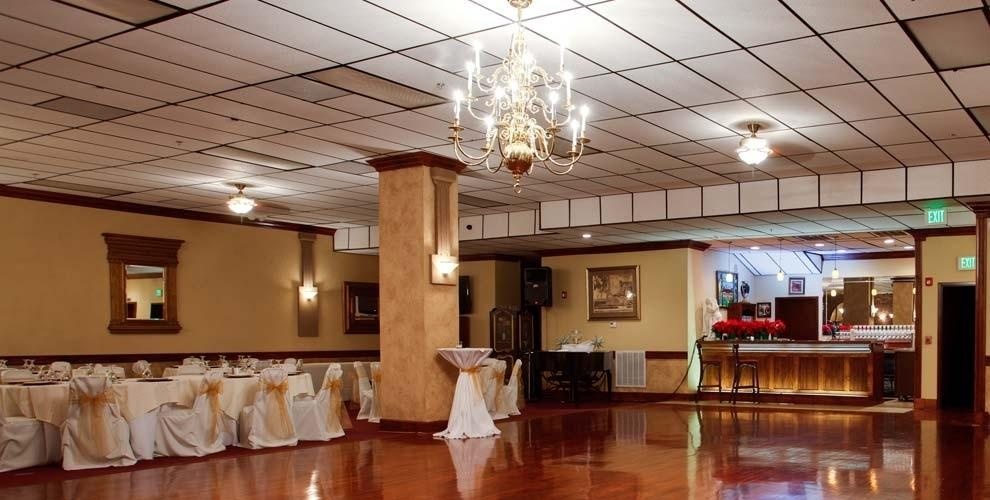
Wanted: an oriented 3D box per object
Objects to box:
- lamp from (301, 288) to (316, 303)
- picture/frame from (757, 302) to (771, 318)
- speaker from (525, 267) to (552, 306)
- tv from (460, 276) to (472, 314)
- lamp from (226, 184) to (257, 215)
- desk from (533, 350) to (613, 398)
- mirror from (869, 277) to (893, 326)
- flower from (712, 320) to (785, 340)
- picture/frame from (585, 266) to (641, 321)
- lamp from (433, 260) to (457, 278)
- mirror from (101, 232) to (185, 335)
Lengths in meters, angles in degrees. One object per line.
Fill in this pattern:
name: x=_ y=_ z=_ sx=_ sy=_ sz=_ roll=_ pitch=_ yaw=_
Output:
lamp: x=-5.785 y=1.367 z=20.035 sx=0.565 sy=0.404 sz=0.178 roll=2 pitch=-4 yaw=-43
picture/frame: x=10.140 y=2.260 z=24.463 sx=0.747 sy=0.652 sz=0.105 roll=3 pitch=4 yaw=11
speaker: x=1.402 y=1.177 z=21.091 sx=0.874 sy=1.223 sz=0.441 roll=-2 pitch=-7 yaw=4
tv: x=-0.986 y=1.533 z=22.197 sx=0.454 sy=1.285 sz=0.227 roll=-2 pitch=-7 yaw=3
lamp: x=-6.051 y=-1.222 z=16.023 sx=0.947 sy=0.754 sz=0.872 roll=0 pitch=0 yaw=-29
desk: x=2.309 y=3.887 z=19.326 sx=2.268 sy=1.111 sz=2.029 roll=-1 pitch=-8 yaw=12
mirror: x=13.592 y=1.763 z=22.820 sx=0.680 sy=1.626 sz=0.186 roll=-4 pitch=-7 yaw=18
flower: x=7.546 y=2.389 z=19.491 sx=1.878 sy=0.515 sz=0.492 roll=-2 pitch=-6 yaw=8
picture/frame: x=3.797 y=1.362 z=20.432 sx=2.167 sy=1.729 sz=0.145 roll=-1 pitch=-3 yaw=26
lamp: x=-1.086 y=0.389 z=14.162 sx=0.444 sy=0.164 sz=0.336 roll=-3 pitch=-20 yaw=-3
mirror: x=-9.331 y=0.898 z=17.192 sx=1.747 sy=2.624 sz=0.504 roll=1 pitch=-7 yaw=-24
